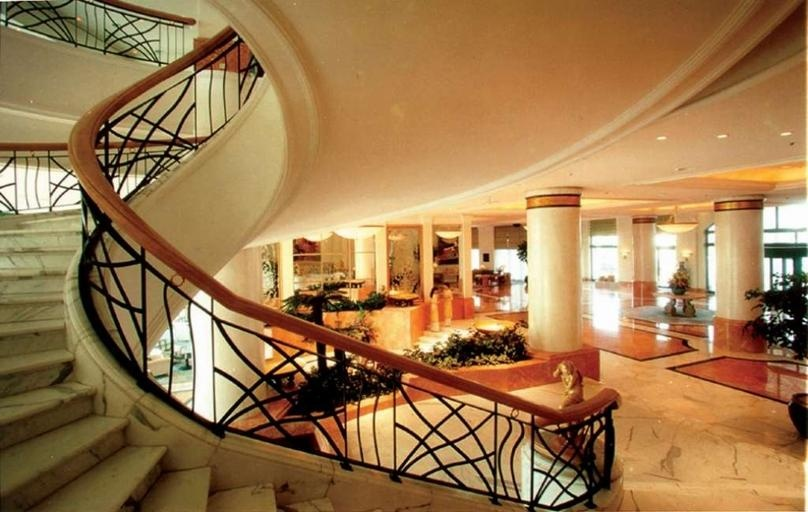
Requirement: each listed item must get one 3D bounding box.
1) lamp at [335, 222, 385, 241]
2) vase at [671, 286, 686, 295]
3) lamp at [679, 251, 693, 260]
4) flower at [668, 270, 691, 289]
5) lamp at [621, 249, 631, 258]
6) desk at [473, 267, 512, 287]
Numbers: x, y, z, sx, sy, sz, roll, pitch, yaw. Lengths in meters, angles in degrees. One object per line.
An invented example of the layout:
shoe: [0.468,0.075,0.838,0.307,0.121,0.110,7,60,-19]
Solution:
lamp: [-1.197,-0.711,14.645,0.745,0.498,1.630,5,13,26]
vase: [8.982,1.137,17.517,0.383,0.232,0.364,-11,8,-20]
lamp: [11.111,-0.028,21.151,0.379,0.281,0.359,0,7,-16]
flower: [9.113,0.769,17.726,0.640,0.639,0.628,2,-1,2]
lamp: [9.241,-0.074,22.438,0.345,0.277,0.426,-3,-1,37]
desk: [4.203,1.071,25.965,1.736,0.626,2.096,-5,13,-19]
